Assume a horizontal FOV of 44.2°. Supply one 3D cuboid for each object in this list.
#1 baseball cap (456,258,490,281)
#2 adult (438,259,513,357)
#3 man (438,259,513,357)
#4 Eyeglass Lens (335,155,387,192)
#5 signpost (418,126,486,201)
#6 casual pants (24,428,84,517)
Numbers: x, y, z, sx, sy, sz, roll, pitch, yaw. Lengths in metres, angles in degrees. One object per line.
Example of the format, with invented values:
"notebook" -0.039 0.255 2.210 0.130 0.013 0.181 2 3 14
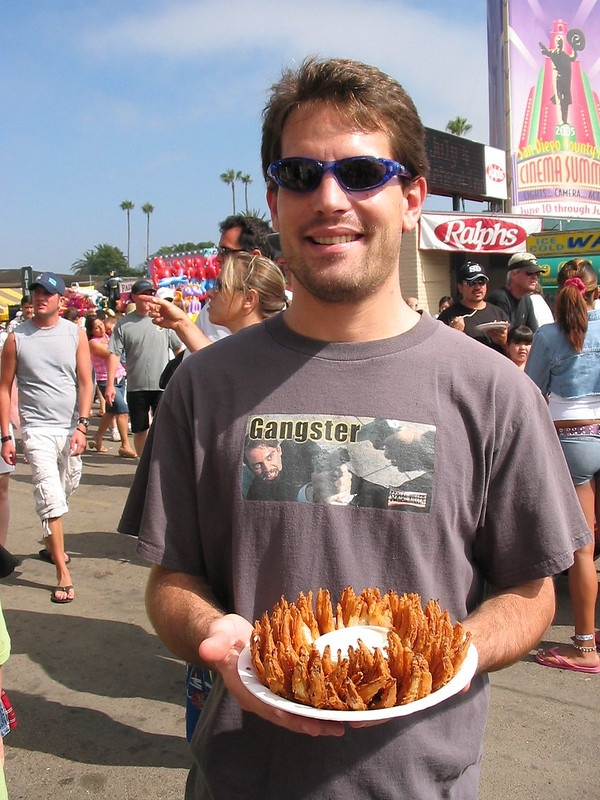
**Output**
"baseball cap" 1.512 -1.146 6.508 0.201 0.150 0.264 -5 4 1
"adult" 1.528 -0.620 6.446 0.794 1.151 0.675 -2 1 13
"man" 1.534 -0.629 6.445 0.786 1.113 0.664 -1 2 0
"Eyeglass Lens" 0.116 -0.408 1.366 0.084 0.031 0.078 -1 5 3
"signpost" 4.032 -6.886 21.241 3.451 1.536 0.428 -2 8 -34
"casual pants" -1.765 0.542 5.162 0.427 0.601 0.244 -5 -24 -40
